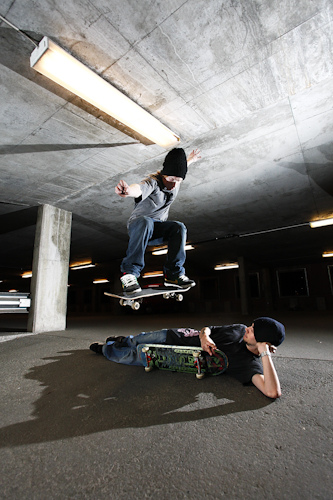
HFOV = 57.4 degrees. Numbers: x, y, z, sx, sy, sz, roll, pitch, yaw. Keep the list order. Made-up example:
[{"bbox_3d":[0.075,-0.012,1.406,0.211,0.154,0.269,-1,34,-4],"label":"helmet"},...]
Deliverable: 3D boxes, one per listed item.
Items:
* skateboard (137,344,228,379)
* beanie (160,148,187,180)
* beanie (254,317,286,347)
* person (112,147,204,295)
[{"bbox_3d":[0.161,0.987,2.828,0.867,0.296,0.117,2,5,24],"label":"skateboard"},{"bbox_3d":[0.115,-1.049,3.553,0.303,0.313,0.371,7,17,-6],"label":"beanie"},{"bbox_3d":[0.823,0.657,2.412,0.224,0.216,0.178,-3,-8,17],"label":"beanie"},{"bbox_3d":[-0.114,-0.316,3.586,1.136,1.666,0.793,7,-11,-42],"label":"person"}]
